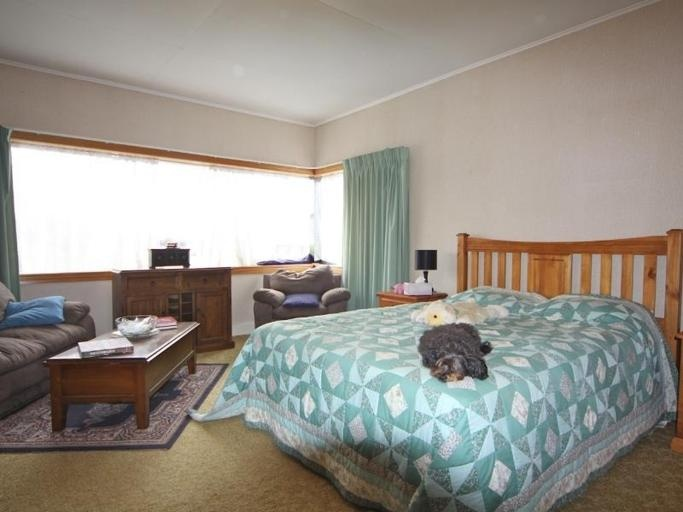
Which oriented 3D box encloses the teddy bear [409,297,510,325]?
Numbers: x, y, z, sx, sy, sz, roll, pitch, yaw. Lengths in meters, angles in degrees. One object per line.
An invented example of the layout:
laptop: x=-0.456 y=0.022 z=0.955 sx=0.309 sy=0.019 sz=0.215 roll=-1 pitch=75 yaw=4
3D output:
teddy bear: x=0.962 y=0.467 z=3.915 sx=0.461 sy=0.120 sz=0.345 roll=-2 pitch=-3 yaw=-28

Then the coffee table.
coffee table: x=-1.919 y=0.996 z=4.417 sx=0.778 sy=0.579 sz=1.372 roll=1 pitch=5 yaw=-4

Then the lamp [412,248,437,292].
lamp: x=0.951 y=0.133 z=5.429 sx=0.324 sy=0.429 sz=0.336 roll=2 pitch=5 yaw=25

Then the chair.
chair: x=-0.502 y=0.612 z=6.120 sx=1.118 sy=0.845 sz=0.680 roll=-1 pitch=-2 yaw=-5

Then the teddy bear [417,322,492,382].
teddy bear: x=0.702 y=0.595 z=3.067 sx=0.392 sy=0.214 sz=0.561 roll=-2 pitch=14 yaw=2
